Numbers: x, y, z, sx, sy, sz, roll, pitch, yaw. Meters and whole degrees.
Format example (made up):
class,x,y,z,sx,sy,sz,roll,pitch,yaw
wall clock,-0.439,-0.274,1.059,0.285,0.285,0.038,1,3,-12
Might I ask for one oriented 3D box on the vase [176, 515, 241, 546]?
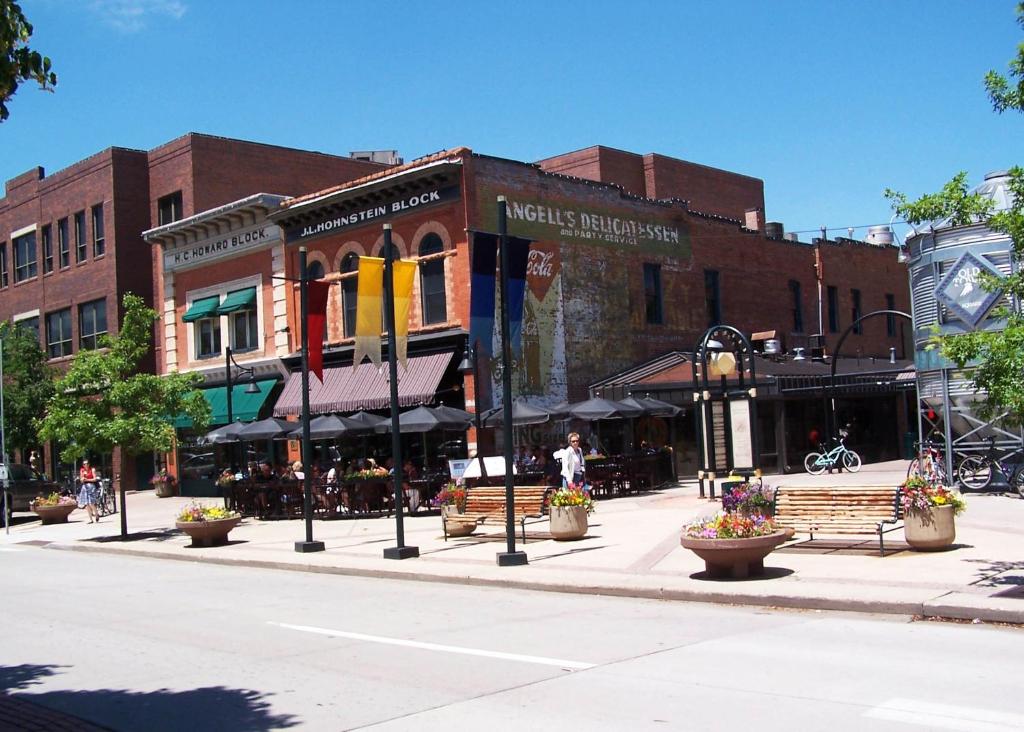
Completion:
class,x,y,z,sx,sy,sz,roll,pitch,yaw
vase,-7.490,4.032,26.338,1.391,0.737,1.066,0,-9,-23

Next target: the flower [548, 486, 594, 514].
class,x,y,z,sx,sy,sz,roll,pitch,yaw
flower,1.301,2.856,23.357,0.626,0.386,0.650,-1,-1,11

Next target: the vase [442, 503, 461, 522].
class,x,y,z,sx,sy,sz,roll,pitch,yaw
vase,-1.399,3.369,24.783,0.413,0.448,0.412,1,4,18

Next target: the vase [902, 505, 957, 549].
class,x,y,z,sx,sy,sz,roll,pitch,yaw
vase,7.316,2.803,18.838,0.771,0.643,0.783,1,2,4

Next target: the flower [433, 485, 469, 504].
class,x,y,z,sx,sy,sz,roll,pitch,yaw
flower,-1.389,2.982,25.110,0.646,0.404,0.484,-1,-3,1

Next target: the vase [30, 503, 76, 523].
class,x,y,z,sx,sy,sz,roll,pitch,yaw
vase,-15.304,4.876,35.754,1.179,0.700,0.874,0,-9,-27

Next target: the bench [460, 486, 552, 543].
class,x,y,z,sx,sy,sz,roll,pitch,yaw
bench,-0.165,3.327,24.438,1.794,1.264,3.270,-2,-8,-9

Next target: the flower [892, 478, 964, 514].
class,x,y,z,sx,sy,sz,roll,pitch,yaw
flower,7.208,2.239,18.671,0.772,0.442,0.792,2,-4,-13

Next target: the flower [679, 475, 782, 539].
class,x,y,z,sx,sy,sz,roll,pitch,yaw
flower,4.154,2.618,18.981,1.221,0.784,1.764,-2,-1,-13

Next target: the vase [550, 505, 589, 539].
class,x,y,z,sx,sy,sz,roll,pitch,yaw
vase,1.212,3.321,23.209,0.723,0.574,0.722,-1,1,-30
